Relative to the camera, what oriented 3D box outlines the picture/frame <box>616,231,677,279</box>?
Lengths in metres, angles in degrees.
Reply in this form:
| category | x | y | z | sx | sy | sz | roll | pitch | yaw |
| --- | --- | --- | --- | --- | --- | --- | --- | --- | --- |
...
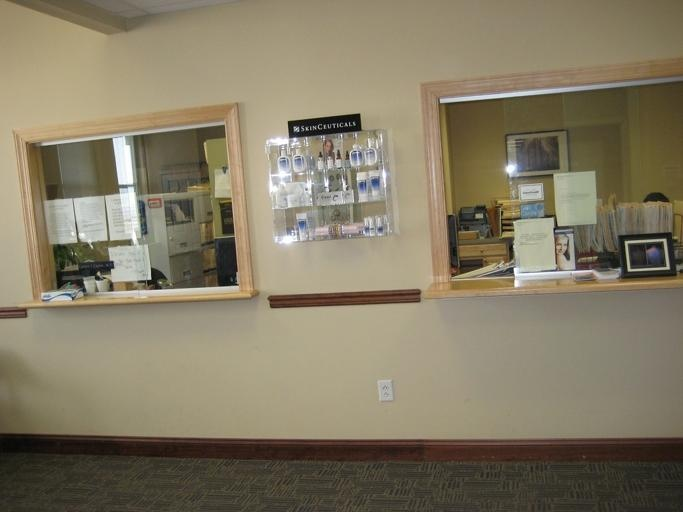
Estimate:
| category | x | y | z | sx | sy | sz | roll | pitch | yaw |
| --- | --- | --- | --- | --- | --- | --- | --- | --- | --- |
| picture/frame | 1.954 | 0.000 | 3.353 | 0.290 | 0.304 | 0.024 | -1 | -10 | 0 |

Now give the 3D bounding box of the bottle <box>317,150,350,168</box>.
| category | x | y | z | sx | sy | sz | roll | pitch | yaw |
| --- | --- | --- | --- | --- | --- | --- | --- | --- | --- |
| bottle | -0.052 | -0.657 | 3.571 | 0.206 | 0.130 | 0.045 | -6 | 6 | 6 |

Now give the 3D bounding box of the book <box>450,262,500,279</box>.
| category | x | y | z | sx | sy | sz | roll | pitch | yaw |
| --- | --- | --- | --- | --- | --- | --- | --- | --- | --- |
| book | 0.953 | 0.100 | 3.650 | 0.344 | 0.083 | 0.110 | -6 | 6 | 14 |

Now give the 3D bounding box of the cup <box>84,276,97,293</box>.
| category | x | y | z | sx | sy | sz | roll | pitch | yaw |
| --- | --- | --- | --- | --- | --- | --- | --- | --- | --- |
| cup | -1.967 | 0.226 | 4.162 | 0.108 | 0.158 | 0.128 | 2 | -3 | -12 |

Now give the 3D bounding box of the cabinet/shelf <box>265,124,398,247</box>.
| category | x | y | z | sx | sy | sz | roll | pitch | yaw |
| --- | --- | --- | --- | --- | --- | --- | --- | --- | --- |
| cabinet/shelf | -0.043 | -0.499 | 3.591 | 0.766 | 0.692 | 0.256 | -2 | 4 | 8 |

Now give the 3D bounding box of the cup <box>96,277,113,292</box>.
| category | x | y | z | sx | sy | sz | roll | pitch | yaw |
| --- | --- | --- | --- | --- | --- | --- | --- | --- | --- |
| cup | -1.864 | 0.228 | 4.118 | 0.118 | 0.117 | 0.090 | 3 | -2 | -31 |

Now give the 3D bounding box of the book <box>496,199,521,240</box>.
| category | x | y | z | sx | sy | sz | roll | pitch | yaw |
| --- | --- | --- | --- | --- | --- | --- | --- | --- | --- |
| book | 1.139 | -0.250 | 3.589 | 0.181 | 0.241 | 0.078 | -2 | -8 | -1 |
